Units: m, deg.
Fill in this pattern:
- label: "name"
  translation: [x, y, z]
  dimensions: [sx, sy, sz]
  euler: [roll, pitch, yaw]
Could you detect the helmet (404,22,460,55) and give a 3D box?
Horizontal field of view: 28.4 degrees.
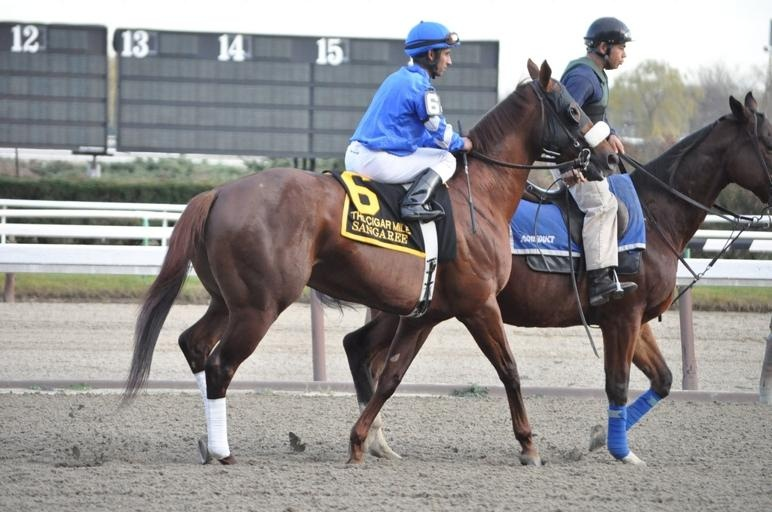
- label: "helmet"
  translation: [0.407, -1.935, 13.763]
  dimensions: [0.513, 0.296, 0.376]
  euler: [-2, 10, 4]
